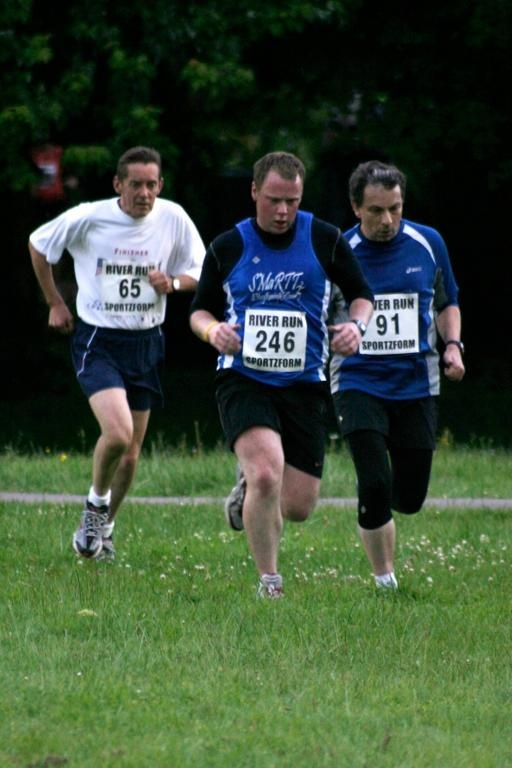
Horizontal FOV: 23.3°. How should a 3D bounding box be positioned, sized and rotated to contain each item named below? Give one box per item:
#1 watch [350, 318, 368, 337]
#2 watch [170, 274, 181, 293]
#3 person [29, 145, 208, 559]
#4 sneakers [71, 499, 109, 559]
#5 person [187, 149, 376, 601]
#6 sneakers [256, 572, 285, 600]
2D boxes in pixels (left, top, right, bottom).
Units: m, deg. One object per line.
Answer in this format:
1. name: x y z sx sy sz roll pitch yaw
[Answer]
1. watch: 0.441 -0.253 5.408 0.064 0.067 0.119 0 4 3
2. watch: -0.425 -0.540 6.566 0.048 0.071 0.072 -4 45 1
3. person: -0.750 -0.168 6.733 0.738 2.188 0.759 3 4 42
4. sneakers: -0.883 0.786 6.601 0.120 0.158 0.357 18 35 -24
5. person: 0.106 -0.044 5.588 0.807 1.995 0.642 0 3 -3
6. sneakers: 0.049 0.924 5.650 0.112 0.114 0.080 -10 -11 43
